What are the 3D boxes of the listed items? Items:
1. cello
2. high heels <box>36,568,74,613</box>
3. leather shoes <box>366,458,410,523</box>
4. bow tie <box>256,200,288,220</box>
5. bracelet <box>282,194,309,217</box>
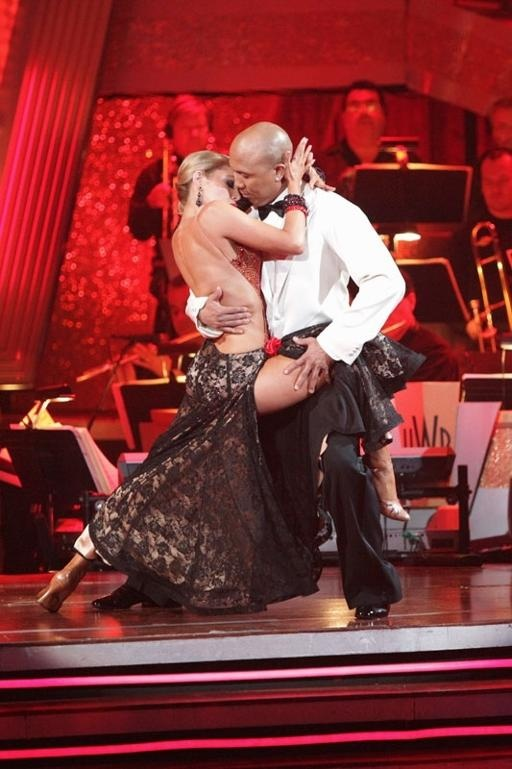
[{"bbox_3d":[-0.397,-0.741,3.806,0.130,1.170,0.222,-11,14,-23],"label":"cello"},{"bbox_3d":[-0.589,0.608,2.255,0.145,0.082,0.060,-45,8,-27],"label":"high heels"},{"bbox_3d":[0.382,0.318,2.223,0.131,0.175,0.109,2,10,23],"label":"leather shoes"},{"bbox_3d":[0.049,-0.502,2.165,0.087,0.058,0.021,-9,-18,32],"label":"bow tie"},{"bbox_3d":[0.105,-0.488,2.069,0.059,0.041,0.062,1,-6,6],"label":"bracelet"}]
